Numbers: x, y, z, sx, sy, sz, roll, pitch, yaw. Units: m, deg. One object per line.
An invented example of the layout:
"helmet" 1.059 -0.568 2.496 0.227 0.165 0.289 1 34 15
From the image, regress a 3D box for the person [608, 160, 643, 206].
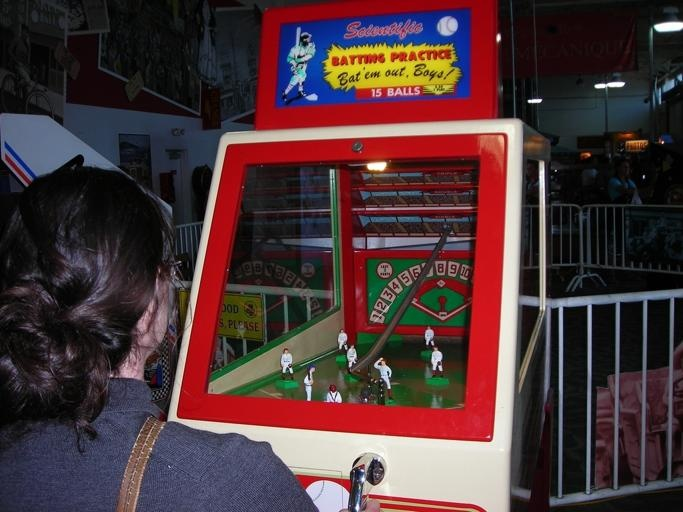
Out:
"person" 4.336 -1.102 9.267 0.410 0.780 0.476 -1 2 -2
